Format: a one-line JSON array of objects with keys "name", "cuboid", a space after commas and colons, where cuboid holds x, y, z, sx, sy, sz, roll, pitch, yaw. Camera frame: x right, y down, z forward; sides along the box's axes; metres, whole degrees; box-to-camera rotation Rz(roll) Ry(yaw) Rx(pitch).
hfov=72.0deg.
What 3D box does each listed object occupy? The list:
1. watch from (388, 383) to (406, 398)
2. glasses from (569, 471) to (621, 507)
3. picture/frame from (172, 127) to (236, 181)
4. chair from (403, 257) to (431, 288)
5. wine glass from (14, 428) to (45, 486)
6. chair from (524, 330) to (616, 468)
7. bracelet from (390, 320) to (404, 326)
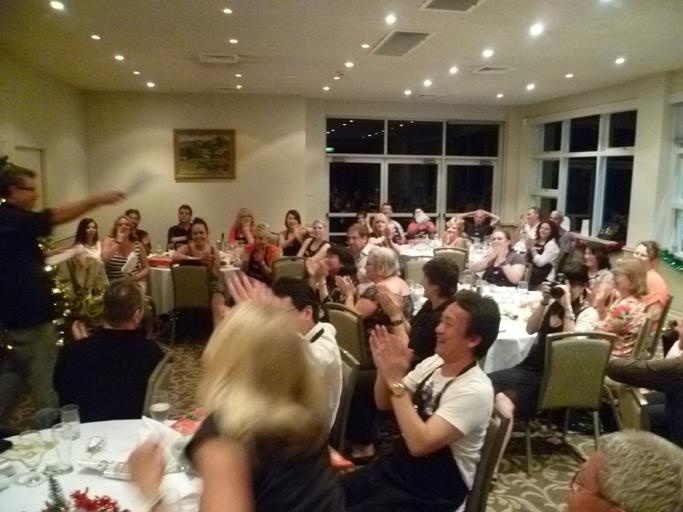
[{"name": "watch", "cuboid": [0.239, 0.573, 2.001, 0.040, 0.042, 0.054, 3, 5, 10]}, {"name": "glasses", "cuboid": [0.783, 0.720, 1.483, 0.075, 0.106, 0.091, -1, -17, 25]}, {"name": "picture/frame", "cuboid": [-2.779, -2.051, 9.353, 0.997, 0.900, 0.083, 0, 3, -11]}, {"name": "chair", "cuboid": [0.920, 0.203, 5.914, 0.335, 0.521, 0.379, 0, 2, -1]}, {"name": "wine glass", "cuboid": [-1.280, 0.837, 1.933, 0.101, 0.193, 0.106, 5, 8, 13]}, {"name": "chair", "cuboid": [1.645, 1.024, 3.617, 0.568, 1.126, 0.677, 3, 9, 8]}, {"name": "bracelet", "cuboid": [0.372, 0.447, 3.134, 0.059, 0.059, 0.040, -6, 37, -17]}]
